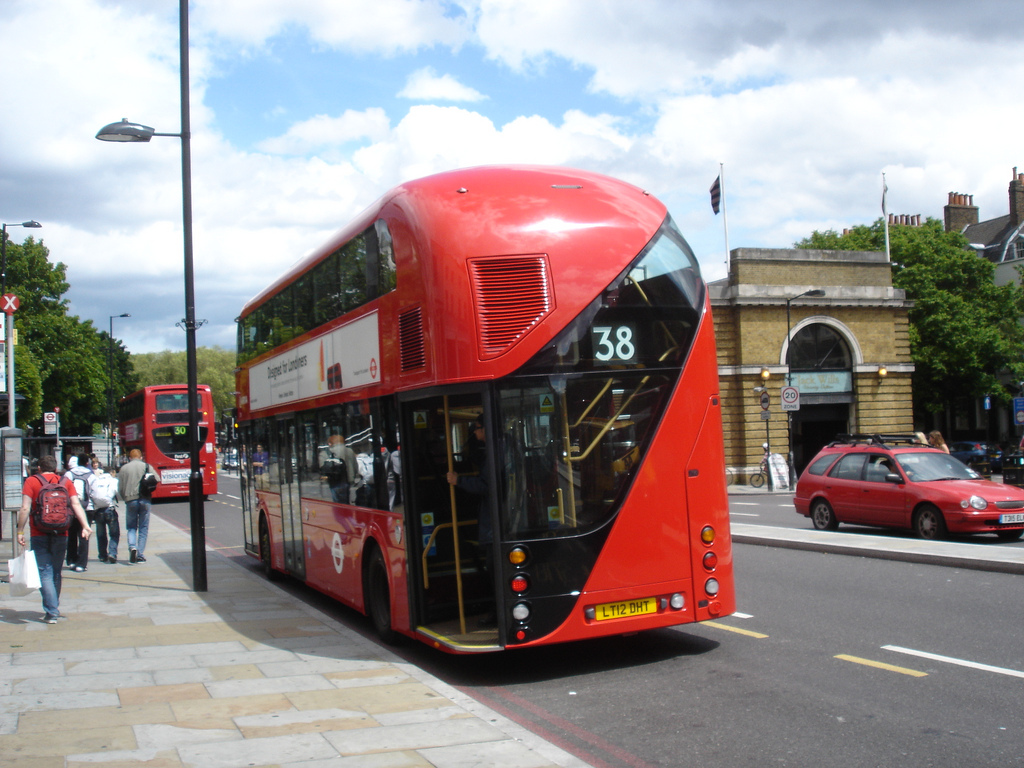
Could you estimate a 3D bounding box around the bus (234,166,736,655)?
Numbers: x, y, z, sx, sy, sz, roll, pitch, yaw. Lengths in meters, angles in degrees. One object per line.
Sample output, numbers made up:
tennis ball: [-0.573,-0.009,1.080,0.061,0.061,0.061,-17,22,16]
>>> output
bus: [-0.178,0.490,10.666,2.298,2.876,5.898,-4,3,-25]

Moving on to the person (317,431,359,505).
person: [-2.142,1.014,12.508,0.263,0.280,0.929,-11,20,-10]

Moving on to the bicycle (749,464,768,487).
bicycle: [9.605,3.550,39.018,0.541,0.925,2.321,-2,0,12]
